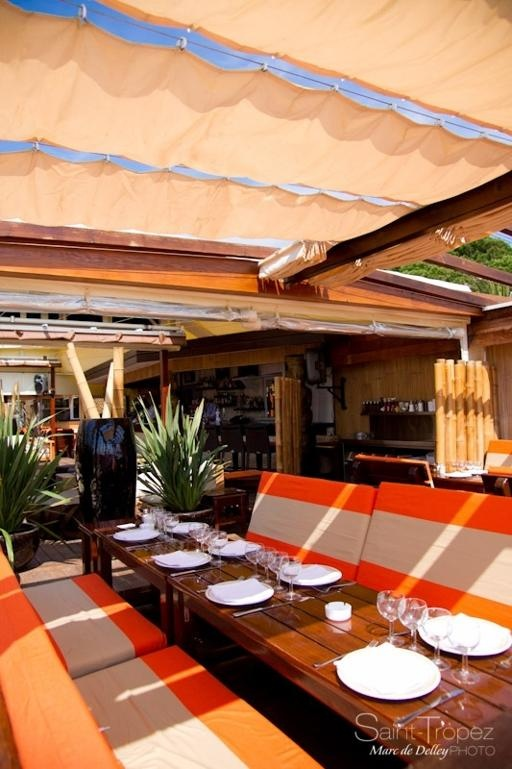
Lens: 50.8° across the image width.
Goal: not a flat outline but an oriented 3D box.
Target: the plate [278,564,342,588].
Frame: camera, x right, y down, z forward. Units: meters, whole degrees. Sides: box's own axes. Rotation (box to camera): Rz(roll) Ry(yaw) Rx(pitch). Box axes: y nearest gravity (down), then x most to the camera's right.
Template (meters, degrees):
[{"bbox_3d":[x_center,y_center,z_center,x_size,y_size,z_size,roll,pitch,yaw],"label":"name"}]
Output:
[{"bbox_3d":[0.193,0.690,1.922,0.167,0.018,0.166,-1,-1,10],"label":"plate"}]

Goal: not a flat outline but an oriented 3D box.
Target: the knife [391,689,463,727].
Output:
[{"bbox_3d":[0.332,0.637,1.050,0.029,0.011,0.218,-9,-6,41],"label":"knife"}]

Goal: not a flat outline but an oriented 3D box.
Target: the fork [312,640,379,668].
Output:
[{"bbox_3d":[0.214,0.652,1.292,0.239,0.020,0.029,-3,-1,-39],"label":"fork"}]

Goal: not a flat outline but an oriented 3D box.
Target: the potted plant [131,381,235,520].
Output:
[{"bbox_3d":[-0.750,0.653,4.642,0.867,1.098,1.043,-8,-15,28],"label":"potted plant"}]

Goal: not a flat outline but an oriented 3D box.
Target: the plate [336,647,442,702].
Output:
[{"bbox_3d":[0.289,0.641,1.194,0.223,0.044,0.209,7,-4,-3],"label":"plate"}]
